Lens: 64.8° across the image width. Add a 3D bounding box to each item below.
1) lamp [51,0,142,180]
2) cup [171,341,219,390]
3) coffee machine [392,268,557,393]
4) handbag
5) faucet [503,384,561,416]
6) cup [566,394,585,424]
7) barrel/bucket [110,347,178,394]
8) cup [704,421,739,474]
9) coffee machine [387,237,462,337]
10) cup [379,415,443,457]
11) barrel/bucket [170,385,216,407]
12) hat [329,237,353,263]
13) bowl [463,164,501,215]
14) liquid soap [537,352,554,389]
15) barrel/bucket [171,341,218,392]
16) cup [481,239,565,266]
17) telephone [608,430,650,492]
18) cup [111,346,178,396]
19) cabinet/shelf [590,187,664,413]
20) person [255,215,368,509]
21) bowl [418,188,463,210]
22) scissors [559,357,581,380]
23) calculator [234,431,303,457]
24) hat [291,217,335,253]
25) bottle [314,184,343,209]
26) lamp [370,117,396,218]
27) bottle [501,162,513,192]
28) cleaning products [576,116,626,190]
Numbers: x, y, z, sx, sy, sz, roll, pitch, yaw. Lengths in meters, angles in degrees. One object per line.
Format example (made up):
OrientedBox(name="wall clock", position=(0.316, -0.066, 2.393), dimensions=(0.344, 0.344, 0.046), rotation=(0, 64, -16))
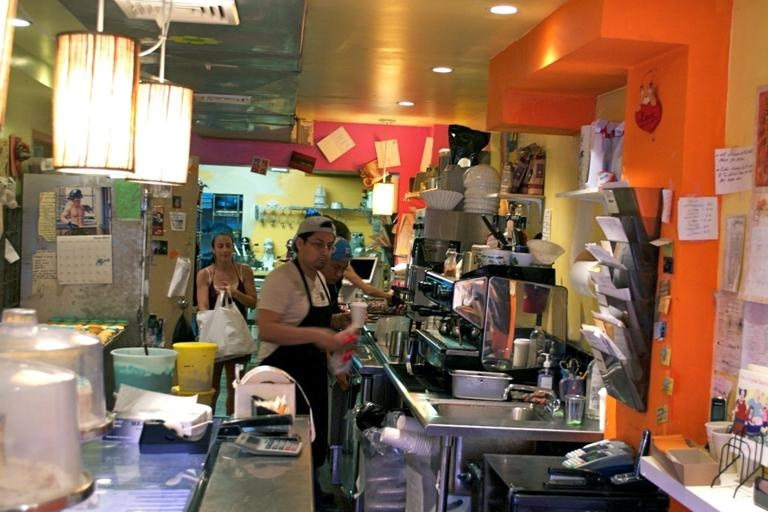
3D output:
OrientedBox(name="lamp", position=(-1.026, -0.540, 2.164), dimensions=(0.276, 0.482, 0.152), rotation=(0, 1, -17))
OrientedBox(name="cup", position=(-1.032, 0.631, 3.388), dimensions=(0.285, 0.227, 0.284), rotation=(0, -11, 0))
OrientedBox(name="coffee machine", position=(0.570, 0.528, 4.320), dimensions=(0.930, 0.748, 1.185), rotation=(8, -4, -14))
OrientedBox(name="handbag", position=(-1.423, 0.573, 5.459), dimensions=(0.535, 0.589, 0.309), rotation=(-7, 8, -6))
OrientedBox(name="faucet", position=(0.914, 0.869, 3.682), dimensions=(0.361, 0.126, 0.128), rotation=(2, 2, 45))
OrientedBox(name="cup", position=(1.089, 0.877, 3.452), dimensions=(0.092, 0.166, 0.066), rotation=(0, 1, 9))
OrientedBox(name="barrel/bucket", position=(-1.268, 0.614, 3.232), dimensions=(0.324, 0.218, 0.314), rotation=(1, -5, 0))
OrientedBox(name="cup", position=(1.436, 0.832, 2.620), dimensions=(0.139, 0.116, 0.155), rotation=(-1, 4, -11))
OrientedBox(name="coffee machine", position=(0.328, 0.266, 4.781), dimensions=(0.469, 0.776, 0.844), rotation=(4, -4, -7))
OrientedBox(name="cup", position=(0.155, 1.082, 3.650), dimensions=(0.373, 0.142, 0.195), rotation=(18, -20, -12))
OrientedBox(name="barrel/bucket", position=(-1.050, 0.757, 3.313), dimensions=(0.250, 0.156, 0.234), rotation=(1, -3, 0))
OrientedBox(name="hat", position=(-0.371, -0.054, 5.301), dimensions=(0.224, 0.173, 0.153), rotation=(8, 5, -4))
OrientedBox(name="bowl", position=(0.780, -0.528, 4.906), dimensions=(0.428, 0.494, 0.374), rotation=(2, 0, 8))
OrientedBox(name="liquid soap", position=(1.017, 0.731, 3.798), dimensions=(0.114, 0.238, 0.076), rotation=(1, 15, 5))
OrientedBox(name="barrel/bucket", position=(-1.058, 0.631, 3.377), dimensions=(0.282, 0.228, 0.267), rotation=(-2, -11, 0))
OrientedBox(name="cup", position=(0.901, -0.001, 3.935), dimensions=(0.405, 0.131, 0.220), rotation=(1, -2, -1))
OrientedBox(name="telephone", position=(1.190, 0.983, 2.939), dimensions=(0.168, 0.318, 0.312), rotation=(0, 1, 13))
OrientedBox(name="cup", position=(-1.273, 0.638, 3.214), dimensions=(0.337, 0.220, 0.287), rotation=(2, -19, -19))
OrientedBox(name="cabinet/shelf", position=(1.209, 0.209, 3.079), dimensions=(0.228, 1.137, 0.334), rotation=(0, 1, -22))
OrientedBox(name="person", position=(-0.570, 0.809, 4.330), dimensions=(0.658, 2.203, 1.369), rotation=(0, 1, -11))
OrientedBox(name="bowl", position=(0.475, -0.458, 5.003), dimensions=(0.336, 0.172, 0.145), rotation=(0, 1, 4))
OrientedBox(name="scissors", position=(1.105, 0.684, 3.635), dimensions=(0.134, 0.146, 0.163), rotation=(1, 3, 0))
OrientedBox(name="calculator", position=(-0.507, 0.829, 2.666), dimensions=(0.281, 0.066, 0.143), rotation=(0, 2, -2))
OrientedBox(name="hat", position=(-0.552, -0.190, 4.373), dimensions=(0.228, 0.150, 0.304), rotation=(7, -32, -47))
OrientedBox(name="bottle", position=(-0.955, -0.999, 10.252), dimensions=(0.502, 0.432, 0.454), rotation=(0, 1, -1))
OrientedBox(name="lamp", position=(0.015, -1.033, 7.888), dimensions=(0.321, 0.985, 0.453), rotation=(0, 1, 1))
OrientedBox(name="bottle", position=(0.962, -0.616, 4.747), dimensions=(0.086, 0.244, 0.071), rotation=(0, 1, 6))
OrientedBox(name="cleaning products", position=(1.252, -0.586, 3.466), dimensions=(0.218, 0.407, 0.431), rotation=(0, 1, 13))
